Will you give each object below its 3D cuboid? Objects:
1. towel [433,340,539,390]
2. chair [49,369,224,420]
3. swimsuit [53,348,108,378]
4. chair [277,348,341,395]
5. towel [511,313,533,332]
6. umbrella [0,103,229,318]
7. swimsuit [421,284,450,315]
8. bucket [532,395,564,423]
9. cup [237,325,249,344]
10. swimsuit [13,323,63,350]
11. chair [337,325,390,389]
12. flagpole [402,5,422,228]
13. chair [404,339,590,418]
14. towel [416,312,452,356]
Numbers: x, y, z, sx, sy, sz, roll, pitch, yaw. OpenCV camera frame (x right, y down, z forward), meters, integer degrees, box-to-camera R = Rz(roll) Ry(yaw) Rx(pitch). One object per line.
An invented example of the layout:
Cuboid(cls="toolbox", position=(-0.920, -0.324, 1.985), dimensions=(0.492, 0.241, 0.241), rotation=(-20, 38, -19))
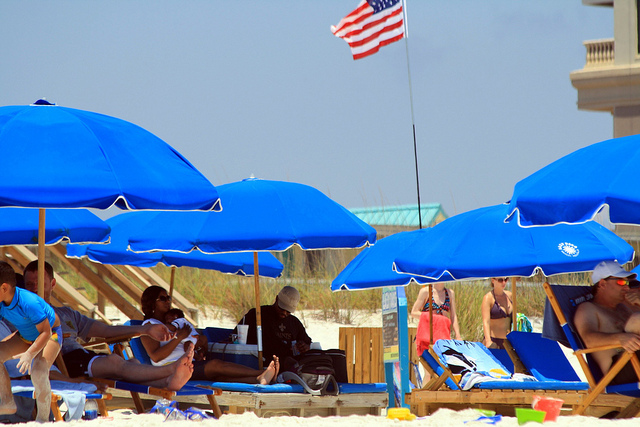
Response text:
Cuboid(cls="towel", position=(2.744, 2.826, 23.498), dimensions=(1.004, 0.527, 1.297), rotation=(-1, 6, -31))
Cuboid(cls="chair", position=(-3.245, 3.236, 22.999), dimensions=(2.314, 0.692, 1.294), rotation=(11, -2, 24))
Cuboid(cls="swimsuit", position=(-4.425, 2.812, 23.312), dimensions=(0.516, 0.764, 0.646), rotation=(-1, -4, -36))
Cuboid(cls="chair", position=(-0.255, 3.053, 23.550), dimensions=(1.064, 0.709, 0.661), rotation=(-17, -18, 42))
Cuboid(cls="towel", position=(4.050, 2.273, 25.642), dimensions=(0.312, 0.386, 0.328), rotation=(-4, -10, -11))
Cuboid(cls="umbrella", position=(-3.817, -0.236, 22.684), dimensions=(3.340, 3.312, 3.651), rotation=(1, 3, -5))
Cuboid(cls="swimsuit", position=(2.363, 1.794, 25.862), dimensions=(0.495, 0.764, 0.387), rotation=(4, -13, -15))
Cuboid(cls="bucket", position=(3.879, 3.473, 21.811), dimensions=(0.379, 0.441, 0.415), rotation=(6, -3, 0))
Cuboid(cls="cup", position=(-1.522, 2.367, 24.137), dimensions=(0.210, 0.382, 0.134), rotation=(-3, -9, -10))
Cuboid(cls="swimsuit", position=(-4.681, 2.161, 21.421), dimensions=(0.514, 0.375, 0.948), rotation=(-16, -14, 41))
Cuboid(cls="chair", position=(0.797, 3.002, 25.297), dimensions=(1.043, 1.707, 1.176), rotation=(-1, 0, 25))
Cuboid(cls="flagpole", position=(5.619, -6.657, 78.446), dimensions=(0.292, 18.599, 0.726), rotation=(-2, -2, 40))
Cuboid(cls="chair", position=(3.090, 3.141, 23.064), dimensions=(2.507, 1.328, 1.606), rotation=(-4, -3, 39))
Cuboid(cls="towel", position=(2.258, 2.500, 25.629), dimensions=(0.727, 0.992, 0.537), rotation=(-4, -39, 15))
